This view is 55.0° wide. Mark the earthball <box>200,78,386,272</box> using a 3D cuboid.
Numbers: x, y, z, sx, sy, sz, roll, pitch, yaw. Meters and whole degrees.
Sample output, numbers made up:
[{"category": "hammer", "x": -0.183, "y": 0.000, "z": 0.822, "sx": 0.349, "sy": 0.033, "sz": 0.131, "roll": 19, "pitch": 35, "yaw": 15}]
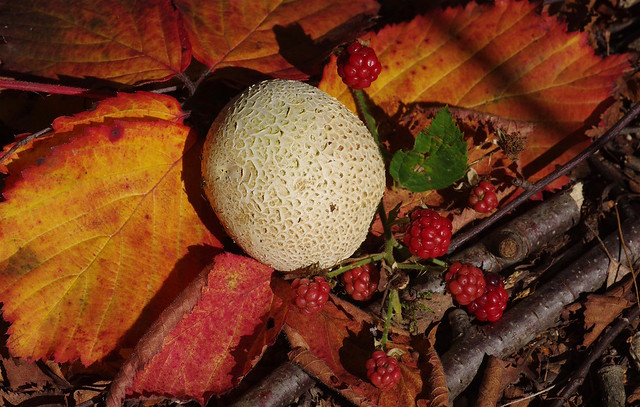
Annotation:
[{"category": "earthball", "x": -0.232, "y": -0.079, "z": 3.814, "sx": 0.892, "sy": 1.143, "sz": 0.908, "roll": -15, "pitch": -5, "yaw": -26}]
